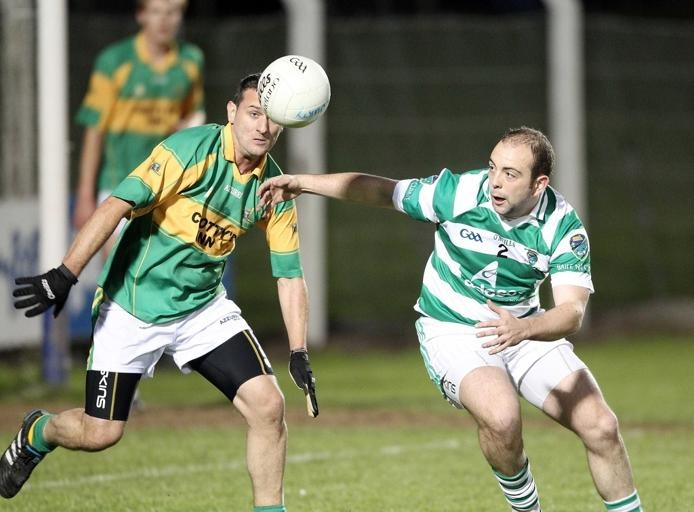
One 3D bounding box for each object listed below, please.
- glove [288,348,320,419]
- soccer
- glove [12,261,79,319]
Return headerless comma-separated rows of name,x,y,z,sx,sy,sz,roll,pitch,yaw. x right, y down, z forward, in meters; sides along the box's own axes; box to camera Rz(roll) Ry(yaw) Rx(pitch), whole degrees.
glove,-0.299,0.852,6.100,0.221,0.441,0.135,-5,-19,-34
soccer,-0.346,-1.083,5.984,0.441,0.489,0.427,-7,7,-38
glove,-1.930,0.216,5.696,0.450,0.324,0.228,-3,-5,21
